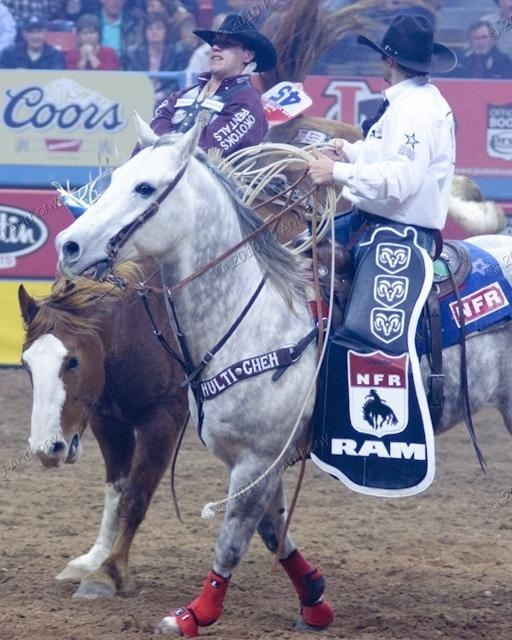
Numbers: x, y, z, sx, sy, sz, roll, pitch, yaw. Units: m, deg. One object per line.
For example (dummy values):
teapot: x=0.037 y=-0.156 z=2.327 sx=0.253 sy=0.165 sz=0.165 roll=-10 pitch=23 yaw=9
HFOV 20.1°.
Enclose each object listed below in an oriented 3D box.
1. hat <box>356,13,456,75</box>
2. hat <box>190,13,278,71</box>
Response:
hat: x=0.574 y=-1.129 z=5.776 sx=0.519 sy=0.192 sz=0.431 roll=18 pitch=21 yaw=37
hat: x=-0.046 y=-1.286 z=6.813 sx=0.267 sy=0.116 sz=0.323 roll=2 pitch=-22 yaw=43
